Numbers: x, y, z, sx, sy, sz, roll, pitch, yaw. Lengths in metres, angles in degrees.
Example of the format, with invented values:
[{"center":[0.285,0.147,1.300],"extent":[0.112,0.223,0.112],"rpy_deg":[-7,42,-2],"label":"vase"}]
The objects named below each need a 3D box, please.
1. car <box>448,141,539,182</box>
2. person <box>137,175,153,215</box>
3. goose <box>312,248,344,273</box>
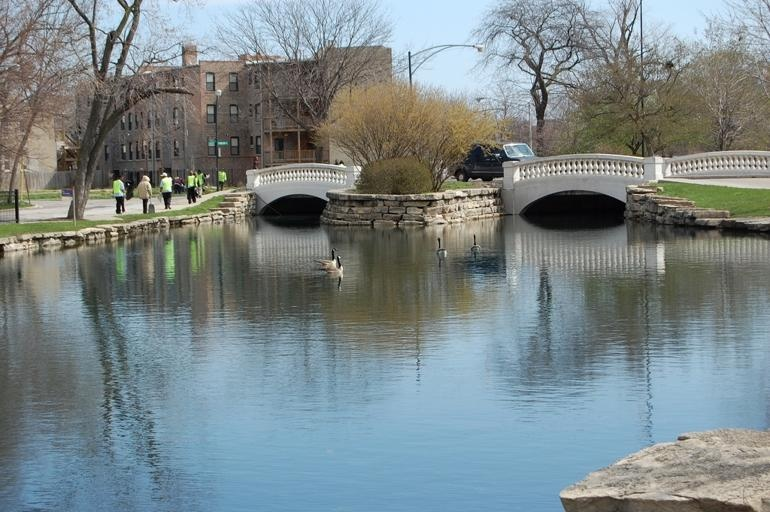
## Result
[{"center":[5.027,-4.681,53.763],"extent":[3.331,1.212,2.009],"rpy_deg":[-4,-1,37],"label":"car"},{"center":[-10.083,-2.607,46.223],"extent":[0.427,1.337,1.693],"rpy_deg":[-3,1,-13],"label":"person"},{"center":[-1.300,0.219,27.220],"extent":[0.659,0.699,0.800],"rpy_deg":[2,6,-10],"label":"goose"}]
